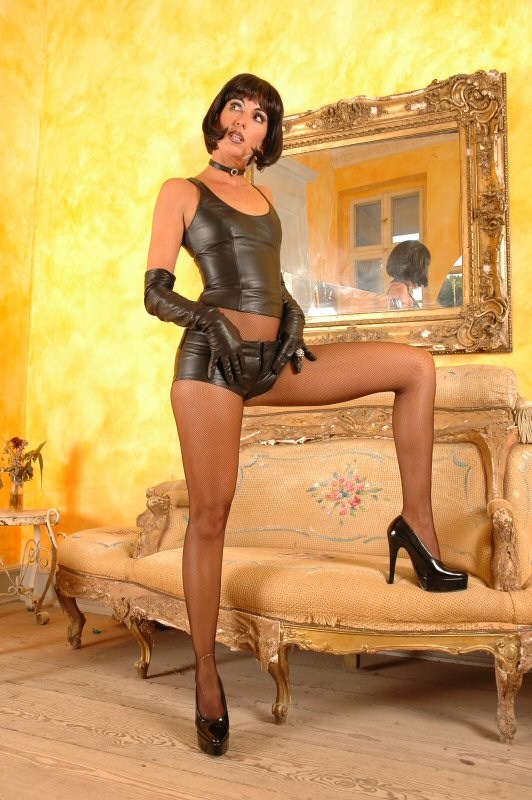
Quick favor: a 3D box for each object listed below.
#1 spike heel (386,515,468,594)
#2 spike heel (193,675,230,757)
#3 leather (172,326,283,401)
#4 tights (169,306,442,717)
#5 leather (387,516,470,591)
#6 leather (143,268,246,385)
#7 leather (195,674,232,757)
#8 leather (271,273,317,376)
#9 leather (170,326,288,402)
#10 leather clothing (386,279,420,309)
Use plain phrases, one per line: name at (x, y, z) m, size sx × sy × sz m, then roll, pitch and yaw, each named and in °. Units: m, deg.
spike heel at (0.393, 0.400, 1.832) m, size 0.260 × 0.218 × 0.121 m, roll 5°, pitch -6°, yaw 9°
spike heel at (-0.121, 0.757, 1.588) m, size 0.068 × 0.112 × 0.064 m, roll -2°, pitch 6°, yaw -8°
leather at (-0.096, -0.083, 1.678) m, size 0.208 × 0.138 × 0.188 m, roll 9°, pitch -3°, yaw -41°
tights at (0.116, 0.240, 1.750) m, size 0.676 × 0.917 × 0.275 m, roll -3°, pitch 7°, yaw -18°
leather at (0.383, 0.394, 1.772) m, size 0.259 × 0.218 × 0.120 m, roll 5°, pitch -6°, yaw 9°
leather at (-0.121, -0.196, 1.625) m, size 0.219 × 0.265 × 0.090 m, roll -4°, pitch 23°, yaw 40°
leather at (-0.117, 0.735, 1.631) m, size 0.060 × 0.054 × 0.182 m, roll -4°, pitch 23°, yaw -6°
leather at (0.063, -0.176, 1.764) m, size 0.091 × 0.214 × 0.065 m, roll 0°, pitch -12°, yaw -13°
leather at (-0.083, -0.078, 1.659) m, size 0.205 × 0.131 × 0.190 m, roll 10°, pitch -5°, yaw -40°
leather clothing at (0.550, -0.423, 2.782) m, size 0.124 × 0.151 × 0.090 m, roll -6°, pitch 0°, yaw 21°
